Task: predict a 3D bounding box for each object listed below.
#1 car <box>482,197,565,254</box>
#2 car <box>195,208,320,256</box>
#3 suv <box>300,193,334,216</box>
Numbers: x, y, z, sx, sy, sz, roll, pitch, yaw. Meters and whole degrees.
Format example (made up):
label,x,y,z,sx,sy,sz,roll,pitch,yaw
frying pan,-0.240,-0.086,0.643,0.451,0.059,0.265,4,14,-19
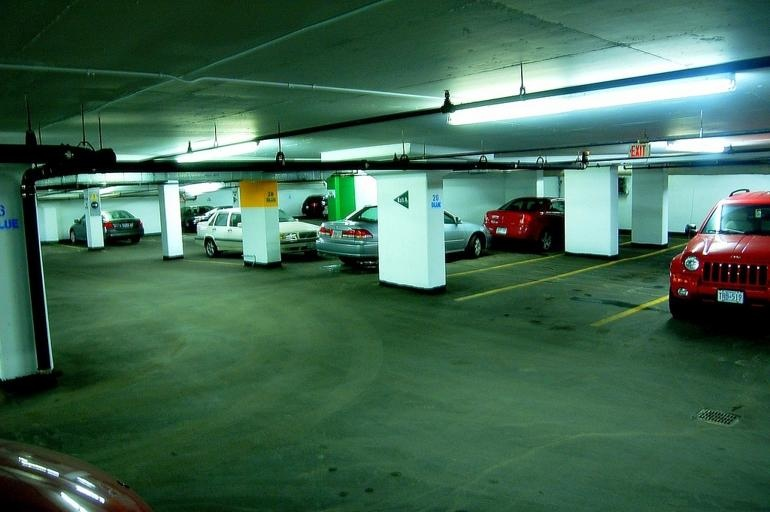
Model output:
label,x,y,z,sx,sy,sz,roll,pitch,yaw
car,4.504,-1.047,20.642,3.249,0.975,1.434,-8,10,-39
car,-4.425,-0.663,21.396,4.546,1.822,2.001,10,19,41
suv,-4.187,-3.081,39.493,1.651,0.996,2.565,1,12,13
